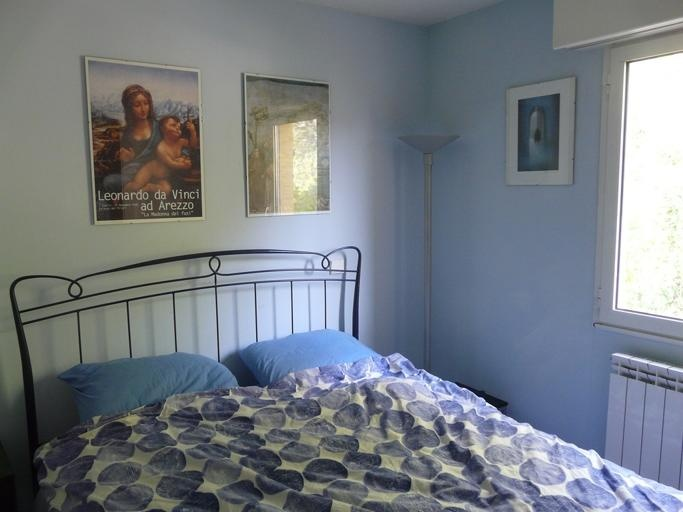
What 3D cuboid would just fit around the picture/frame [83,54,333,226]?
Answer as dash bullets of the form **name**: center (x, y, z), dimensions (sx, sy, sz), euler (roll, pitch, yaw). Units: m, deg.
- **picture/frame**: center (-0.866, -0.716, 3.128), dimensions (1.047, 0.662, 0.014), euler (-6, 7, -33)
